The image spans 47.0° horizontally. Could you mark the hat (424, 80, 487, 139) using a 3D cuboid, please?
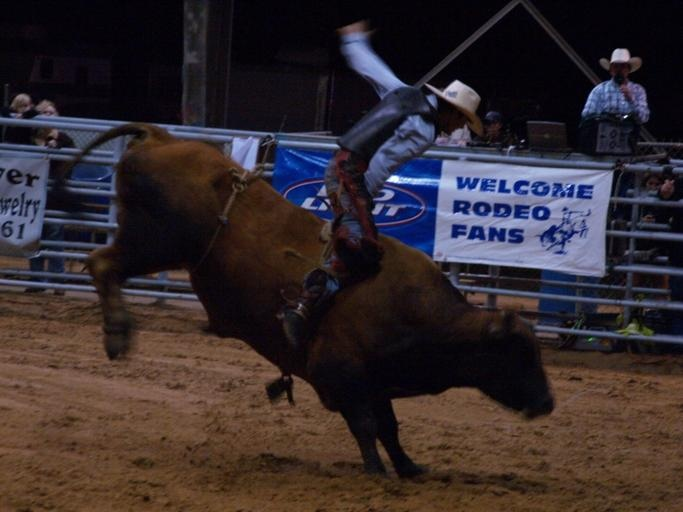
[{"bbox_3d":[0.952,-1.185,6.144,0.507,0.174,0.408,32,-4,8],"label":"hat"}]

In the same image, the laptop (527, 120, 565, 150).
[{"bbox_3d":[2.519,-1.429,9.555,0.569,0.342,0.405,6,9,21],"label":"laptop"}]

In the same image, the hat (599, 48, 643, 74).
[{"bbox_3d":[3.679,-2.542,10.239,0.517,0.165,0.501,1,-12,15],"label":"hat"}]

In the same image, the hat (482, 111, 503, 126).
[{"bbox_3d":[2.122,-1.910,10.962,0.276,0.139,0.229,-3,0,10],"label":"hat"}]
